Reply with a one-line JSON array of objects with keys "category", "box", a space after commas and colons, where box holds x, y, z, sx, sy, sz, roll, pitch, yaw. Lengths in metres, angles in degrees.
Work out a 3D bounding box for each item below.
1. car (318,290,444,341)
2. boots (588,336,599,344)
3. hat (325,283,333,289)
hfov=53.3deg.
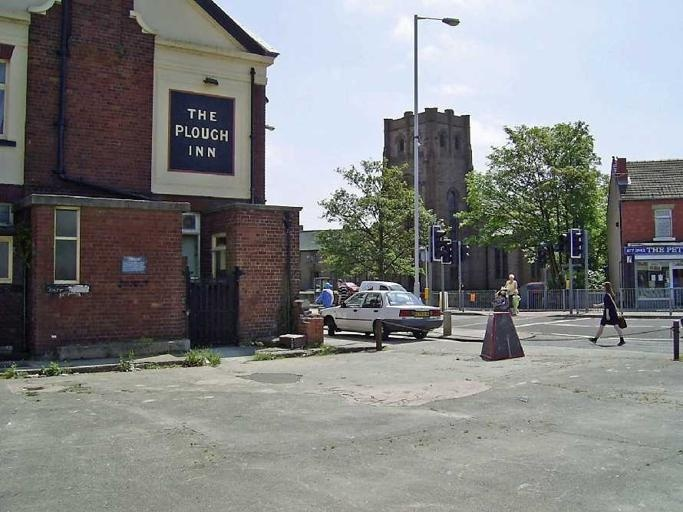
[{"category": "car", "box": [1.277, 1.914, 22.504, 3.870, 1.569, 1.329, 1, 2, 35]}, {"category": "boots", "box": [7.560, 2.464, 20.196, 0.159, 0.304, 0.358, 4, 5, -14]}, {"category": "hat", "box": [-0.778, 1.703, 39.899, 0.317, 0.361, 0.347, -2, 0, 5]}]
